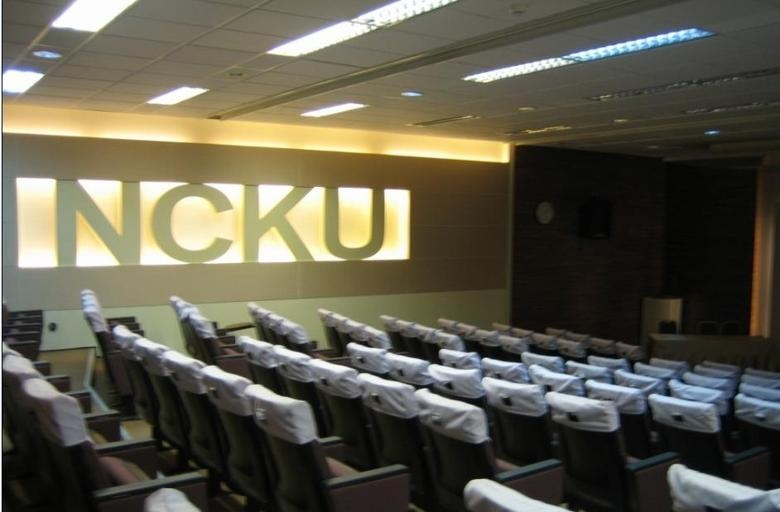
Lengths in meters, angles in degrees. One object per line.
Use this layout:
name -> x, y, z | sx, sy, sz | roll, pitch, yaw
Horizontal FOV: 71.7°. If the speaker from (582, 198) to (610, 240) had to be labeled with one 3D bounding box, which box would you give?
speaker -> 5.149, -0.933, 13.458 | 0.741, 0.906, 0.208 | -2, 2, -9
